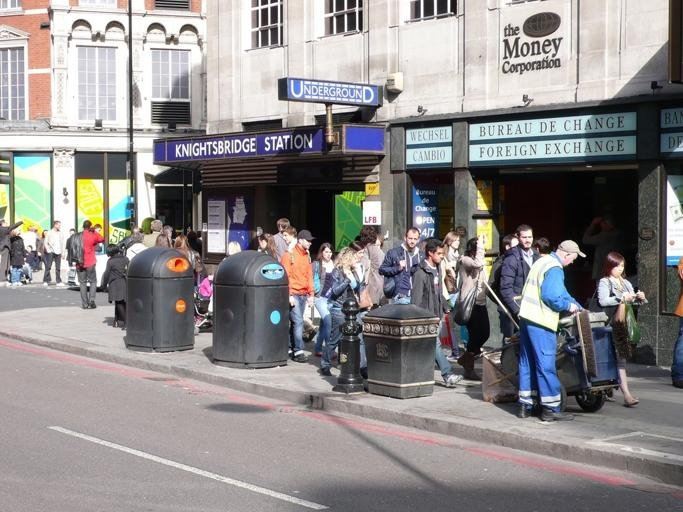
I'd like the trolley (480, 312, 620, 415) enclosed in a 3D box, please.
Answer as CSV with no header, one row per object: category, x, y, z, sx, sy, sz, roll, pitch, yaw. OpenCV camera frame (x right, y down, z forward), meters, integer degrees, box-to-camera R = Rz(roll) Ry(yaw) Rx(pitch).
trolley,2.888,1.466,14.736,1.759,1.413,1.207,-1,1,41

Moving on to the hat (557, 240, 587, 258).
hat,3.563,-0.117,15.951,0.413,0.247,0.280,7,8,-18

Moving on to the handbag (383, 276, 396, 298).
handbag,0.764,0.493,16.357,0.181,0.343,0.536,0,3,-2

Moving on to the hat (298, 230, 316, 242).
hat,-0.621,-0.360,18.018,0.255,0.171,0.199,-1,6,-7

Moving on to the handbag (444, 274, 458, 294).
handbag,1.850,0.460,17.404,0.165,0.346,0.237,-20,22,-25

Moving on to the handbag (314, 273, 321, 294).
handbag,-0.428,0.506,19.089,0.115,0.349,0.236,10,0,-10

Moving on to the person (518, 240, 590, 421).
person,2.788,1.014,13.973,0.760,2.391,0.498,0,3,12
